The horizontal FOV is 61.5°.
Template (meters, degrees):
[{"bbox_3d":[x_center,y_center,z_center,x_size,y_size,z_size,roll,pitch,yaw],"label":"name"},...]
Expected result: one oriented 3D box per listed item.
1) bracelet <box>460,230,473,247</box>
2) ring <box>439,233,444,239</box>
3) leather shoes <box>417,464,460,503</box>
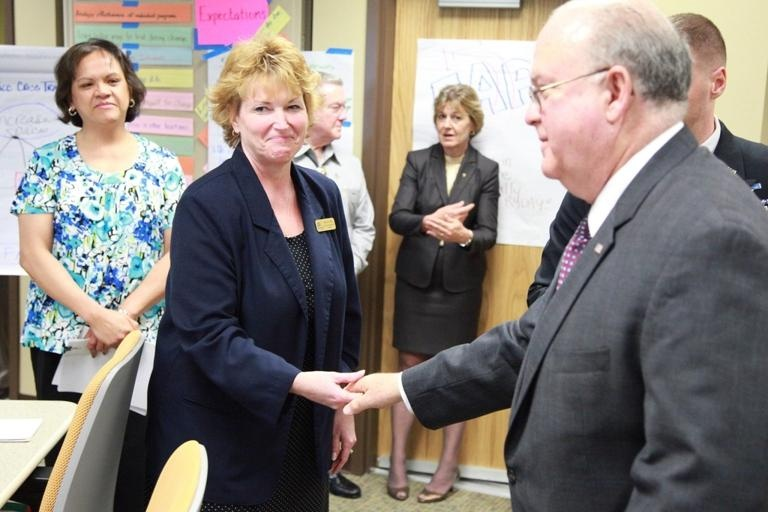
[{"bbox_3d":[0.402,-0.088,3.165,0.070,0.049,0.068,-22,40,17],"label":"bracelet"},{"bbox_3d":[0.278,-0.101,3.093,0.023,0.026,0.026,-8,5,-14],"label":"ring"},{"bbox_3d":[0.297,1.171,3.361,0.097,0.145,0.290,5,1,32],"label":"leather shoes"}]
